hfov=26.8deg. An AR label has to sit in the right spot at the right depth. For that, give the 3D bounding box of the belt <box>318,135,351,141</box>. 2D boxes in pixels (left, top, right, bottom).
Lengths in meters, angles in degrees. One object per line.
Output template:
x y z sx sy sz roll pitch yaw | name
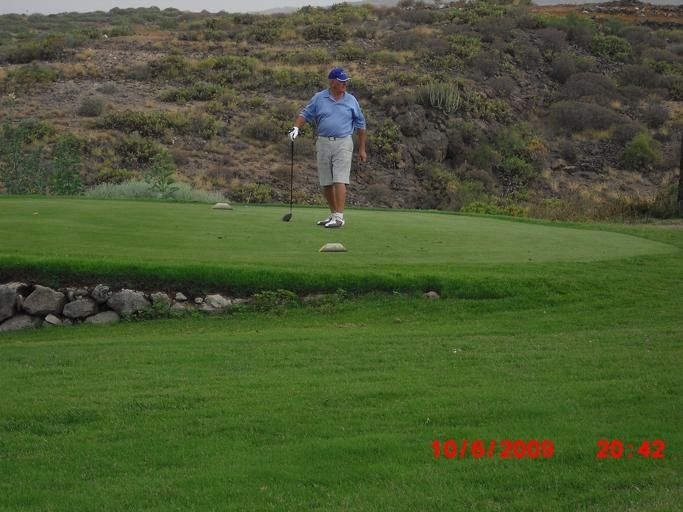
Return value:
-0.249 -4.516 55.688 1.258 0.216 0.249 -1 4 6 | belt

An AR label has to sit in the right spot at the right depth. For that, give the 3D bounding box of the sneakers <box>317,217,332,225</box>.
-0.665 -1.298 56.094 0.703 0.268 0.237 0 0 13 | sneakers

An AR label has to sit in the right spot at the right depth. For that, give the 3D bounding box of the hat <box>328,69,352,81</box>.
-0.081 -6.992 55.697 0.726 0.365 0.519 -2 17 5 | hat
